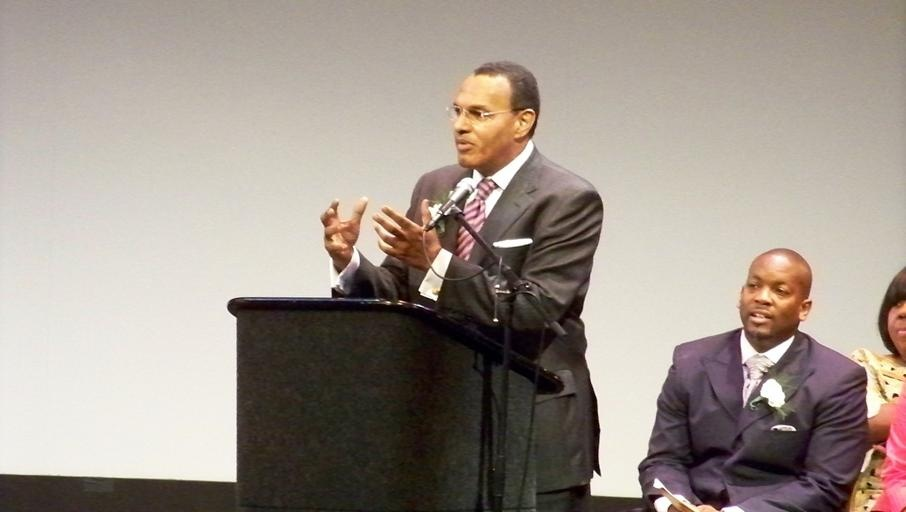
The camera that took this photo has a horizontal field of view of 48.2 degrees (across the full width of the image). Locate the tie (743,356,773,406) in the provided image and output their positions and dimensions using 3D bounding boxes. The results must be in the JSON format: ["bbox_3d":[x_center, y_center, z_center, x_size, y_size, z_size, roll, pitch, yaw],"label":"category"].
[{"bbox_3d":[1.644,0.661,5.439,0.166,0.240,0.068,-16,-33,38],"label":"tie"}]

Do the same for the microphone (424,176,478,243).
[{"bbox_3d":[0.040,-0.238,4.781,0.417,0.112,0.137,-42,14,-31],"label":"microphone"}]
